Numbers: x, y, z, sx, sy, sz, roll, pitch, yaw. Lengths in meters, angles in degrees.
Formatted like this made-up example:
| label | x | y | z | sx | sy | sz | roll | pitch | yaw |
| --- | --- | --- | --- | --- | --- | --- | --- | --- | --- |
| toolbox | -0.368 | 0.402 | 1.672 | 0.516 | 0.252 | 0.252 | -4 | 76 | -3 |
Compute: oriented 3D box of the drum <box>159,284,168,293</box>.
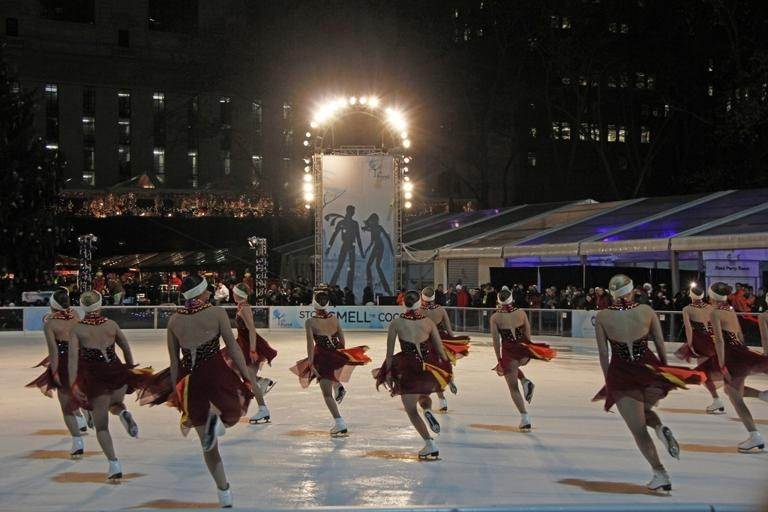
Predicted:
| label | x | y | z | sx | sy | sz | roll | pitch | yaw |
| --- | --- | --- | --- | --- | --- | --- | --- | --- | --- |
| drum | -11.473 | 1.702 | 44.175 | 0.565 | 0.375 | 0.541 | -1 | 1 | 0 |

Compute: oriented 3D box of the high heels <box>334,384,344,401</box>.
| label | x | y | z | sx | sy | sz | roll | pitch | yaw |
| --- | --- | --- | --- | --- | --- | --- | --- | --- | --- |
| high heels | -0.854 | 2.702 | 16.628 | 0.167 | 0.364 | 0.123 | 32 | 47 | 13 |

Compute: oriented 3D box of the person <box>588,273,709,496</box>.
| label | x | y | z | sx | sy | sz | roll | pitch | yaw |
| --- | --- | --- | --- | --- | --- | --- | --- | --- | --- |
| person | 4.243 | 2.054 | 13.907 | 1.474 | 3.437 | 0.837 | 1 | 5 | 13 |
